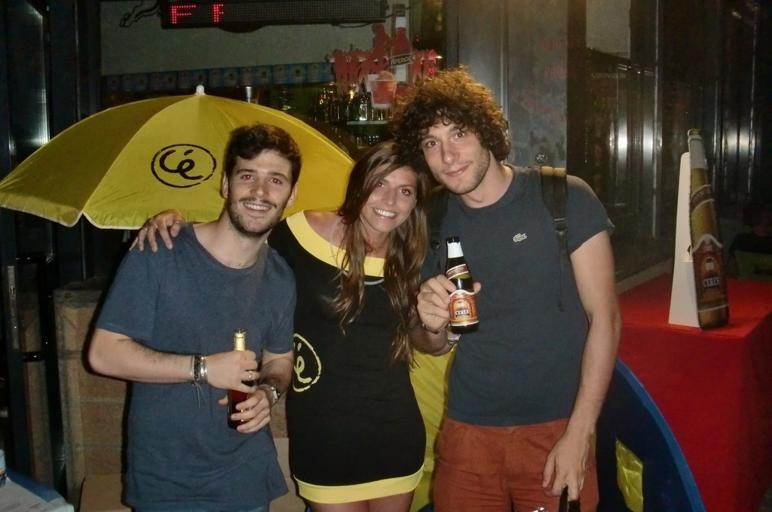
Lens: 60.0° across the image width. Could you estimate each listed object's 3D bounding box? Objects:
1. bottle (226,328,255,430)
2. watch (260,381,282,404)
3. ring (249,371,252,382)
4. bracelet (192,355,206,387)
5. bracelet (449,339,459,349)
[{"bbox_3d":[-0.721,0.624,3.373,0.120,0.520,0.165,-1,2,-28],"label":"bottle"},{"bbox_3d":[-0.590,0.711,3.501,0.106,0.100,0.109,-18,7,-21],"label":"watch"},{"bbox_3d":[-0.666,0.602,3.335,0.012,0.042,0.043,-8,25,-11],"label":"ring"},{"bbox_3d":[-0.913,0.561,3.288,0.035,0.109,0.096,1,-2,12],"label":"bracelet"},{"bbox_3d":[0.373,0.486,3.711,0.091,0.037,0.128,-1,2,2],"label":"bracelet"}]
